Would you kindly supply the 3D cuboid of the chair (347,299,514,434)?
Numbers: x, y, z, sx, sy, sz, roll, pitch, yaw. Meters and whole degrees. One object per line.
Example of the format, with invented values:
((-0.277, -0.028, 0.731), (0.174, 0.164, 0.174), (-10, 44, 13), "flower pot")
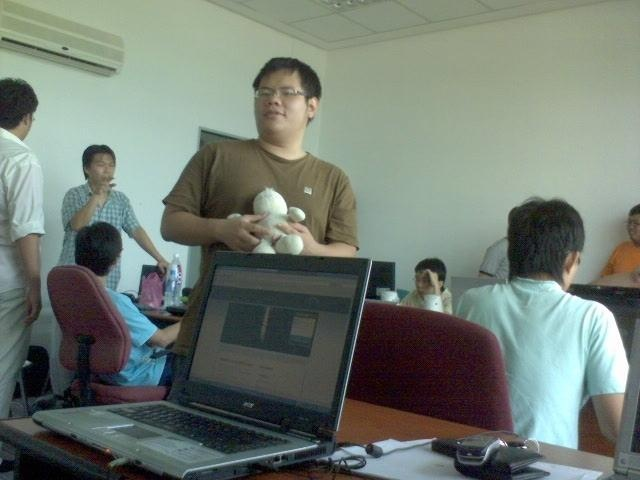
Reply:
((0.281, 0.291, 1.523), (0.454, 0.356, 0.330), (6, -8, -45), "chair")

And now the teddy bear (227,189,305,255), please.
((-0.114, -0.054, 1.491), (0.143, 0.169, 0.263), (5, 5, -8), "teddy bear")
